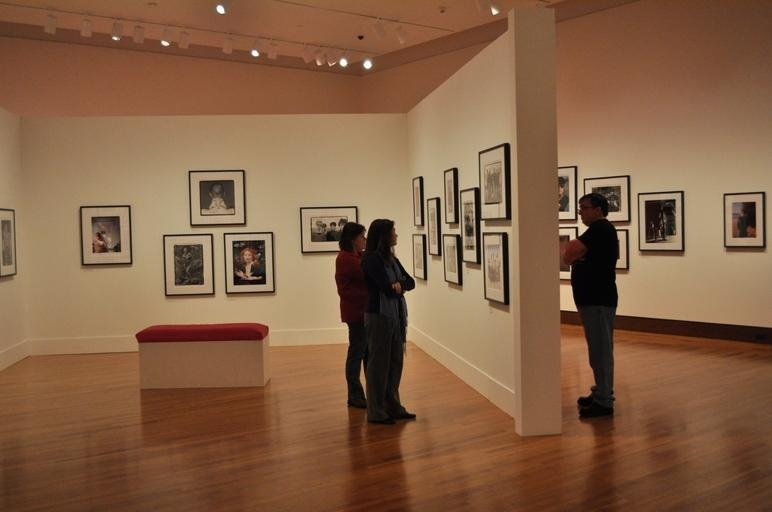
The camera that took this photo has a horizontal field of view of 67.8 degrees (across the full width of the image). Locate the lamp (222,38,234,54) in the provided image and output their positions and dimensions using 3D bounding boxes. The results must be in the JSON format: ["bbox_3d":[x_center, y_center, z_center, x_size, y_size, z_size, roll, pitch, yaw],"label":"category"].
[{"bbox_3d":[-3.646,-4.860,13.246,0.179,0.337,0.322,-3,11,-8],"label":"lamp"}]

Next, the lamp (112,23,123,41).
[{"bbox_3d":[-5.828,-4.924,12.466,0.184,0.423,0.686,-6,12,-22],"label":"lamp"}]

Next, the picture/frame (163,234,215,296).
[{"bbox_3d":[-4.271,0.160,12.332,1.209,1.612,0.101,0,-4,-8],"label":"picture/frame"}]

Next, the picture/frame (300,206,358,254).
[{"bbox_3d":[-1.223,-0.548,11.800,0.956,0.816,0.036,0,-3,-8],"label":"picture/frame"}]

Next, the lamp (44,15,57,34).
[{"bbox_3d":[-7.088,-4.939,12.172,0.195,0.406,0.636,-7,13,-27],"label":"lamp"}]

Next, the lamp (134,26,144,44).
[{"bbox_3d":[-5.383,-4.843,12.524,0.165,0.317,0.206,-10,14,-39],"label":"lamp"}]

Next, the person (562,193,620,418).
[{"bbox_3d":[2.995,0.703,8.401,0.724,3.119,0.884,1,11,12],"label":"person"}]

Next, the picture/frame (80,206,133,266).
[{"bbox_3d":[-6.013,-0.462,12.237,1.158,1.536,0.096,-1,-2,-8],"label":"picture/frame"}]

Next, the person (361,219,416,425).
[{"bbox_3d":[0.025,0.942,8.247,0.714,2.884,0.565,-4,11,-13],"label":"person"}]

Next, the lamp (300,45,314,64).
[{"bbox_3d":[-1.924,-5.045,14.263,0.288,0.429,0.548,-3,12,-7],"label":"lamp"}]

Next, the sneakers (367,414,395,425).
[{"bbox_3d":[-0.066,2.323,8.253,0.408,0.175,0.143,0,0,-2],"label":"sneakers"}]

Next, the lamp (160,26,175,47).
[{"bbox_3d":[-4.944,-4.965,12.951,0.205,0.459,1.121,-5,12,-20],"label":"lamp"}]

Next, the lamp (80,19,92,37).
[{"bbox_3d":[-6.400,-4.873,12.269,0.182,0.311,0.478,-8,13,-29],"label":"lamp"}]

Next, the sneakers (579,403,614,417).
[{"bbox_3d":[3.034,2.246,8.422,0.566,0.264,0.199,1,-2,2],"label":"sneakers"}]
